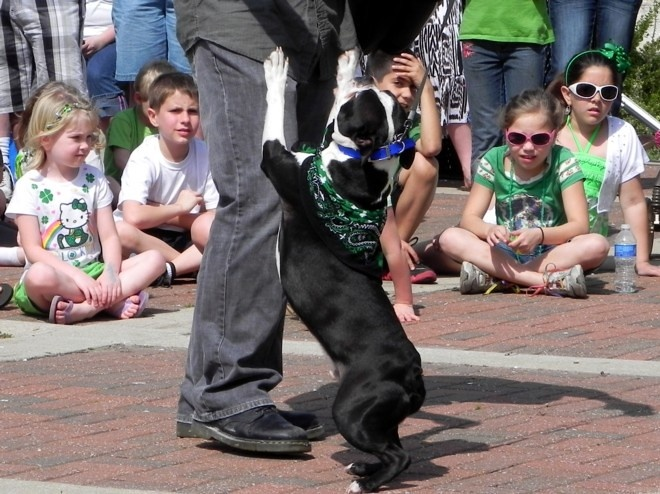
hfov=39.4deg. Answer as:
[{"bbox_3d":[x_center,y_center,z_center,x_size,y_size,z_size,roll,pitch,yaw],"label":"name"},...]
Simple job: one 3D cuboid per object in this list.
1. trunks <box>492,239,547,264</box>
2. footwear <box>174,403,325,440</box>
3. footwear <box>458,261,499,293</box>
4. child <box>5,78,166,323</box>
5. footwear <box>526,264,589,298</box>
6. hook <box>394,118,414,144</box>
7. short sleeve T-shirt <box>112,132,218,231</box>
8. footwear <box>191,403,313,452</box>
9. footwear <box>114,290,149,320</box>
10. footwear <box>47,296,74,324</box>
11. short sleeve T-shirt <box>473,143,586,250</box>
[{"bbox_3d":[1.296,0.046,6.213,0.263,0.071,0.167,10,-18,1],"label":"trunks"},{"bbox_3d":[-0.334,0.668,3.614,0.583,0.141,0.181,-1,7,12],"label":"footwear"},{"bbox_3d":[0.984,0.212,6.169,0.261,0.215,0.119,-9,15,-35],"label":"footwear"},{"bbox_3d":[-1.569,-0.276,5.692,0.849,1.393,0.854,-5,13,-16],"label":"child"},{"bbox_3d":[1.496,0.221,6.011,0.374,0.224,0.137,5,14,28],"label":"footwear"},{"bbox_3d":[0.265,-0.400,3.201,0.030,0.082,0.067,21,9,-21],"label":"hook"},{"bbox_3d":[-1.063,-0.438,6.752,0.934,0.670,0.492,-1,0,31],"label":"short sleeve T-shirt"},{"bbox_3d":[-0.308,0.678,3.542,0.578,0.176,0.216,0,1,43],"label":"footwear"},{"bbox_3d":[-1.212,0.359,5.621,0.212,0.146,0.187,-6,13,-27],"label":"footwear"},{"bbox_3d":[-1.587,0.370,5.404,0.119,0.176,0.072,8,16,-14],"label":"footwear"},{"bbox_3d":[1.453,-0.358,6.404,0.854,0.696,0.478,5,26,46],"label":"short sleeve T-shirt"}]
